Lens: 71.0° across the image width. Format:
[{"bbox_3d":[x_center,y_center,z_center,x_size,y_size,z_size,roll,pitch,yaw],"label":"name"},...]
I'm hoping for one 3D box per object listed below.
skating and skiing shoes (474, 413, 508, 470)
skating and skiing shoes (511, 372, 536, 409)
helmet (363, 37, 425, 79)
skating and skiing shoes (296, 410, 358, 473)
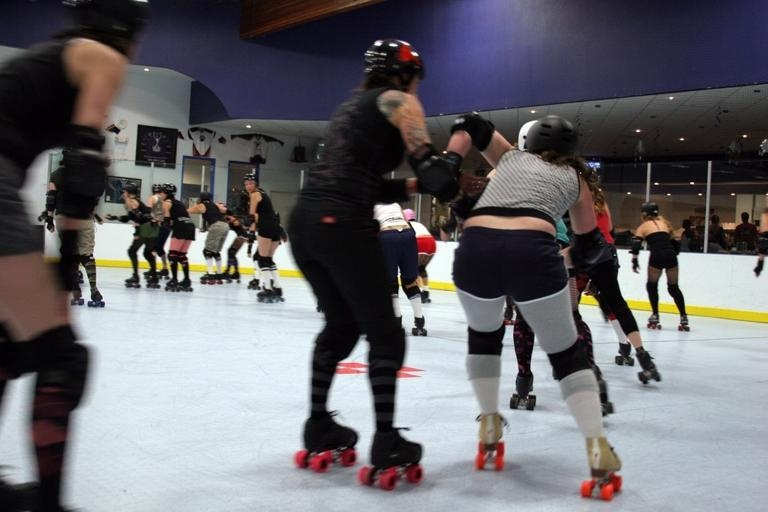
[{"bbox_3d":[0.544,0.960,2.764,0.140,0.245,0.304,2,-3,6],"label":"skating and skiing shoes"},{"bbox_3d":[0.998,0.975,3.884,0.189,0.191,0.349,1,-2,14],"label":"skating and skiing shoes"},{"bbox_3d":[0.049,-0.963,2.613,0.275,0.200,0.170,2,5,2],"label":"helmet"},{"bbox_3d":[-0.272,0.916,2.716,0.308,0.260,0.180,4,-7,-43],"label":"skating and skiing shoes"}]
